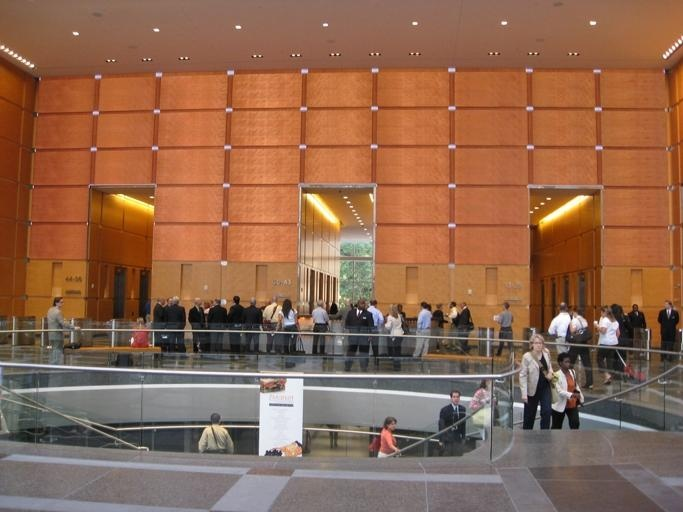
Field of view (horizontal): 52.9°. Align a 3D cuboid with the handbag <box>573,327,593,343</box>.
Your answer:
[{"bbox_3d":[6.179,2.020,17.676,0.500,0.463,0.250,-8,-18,-12],"label":"handbag"}]

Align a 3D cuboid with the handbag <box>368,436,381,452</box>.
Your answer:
[{"bbox_3d":[0.555,3.095,11.476,0.174,0.273,0.410,0,6,-4],"label":"handbag"}]

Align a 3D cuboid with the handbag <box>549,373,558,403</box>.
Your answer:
[{"bbox_3d":[4.117,2.544,13.306,0.130,0.636,0.286,3,6,24],"label":"handbag"}]

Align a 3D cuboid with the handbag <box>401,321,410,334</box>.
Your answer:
[{"bbox_3d":[1.915,2.126,20.578,0.132,0.348,0.275,-7,-4,19],"label":"handbag"}]

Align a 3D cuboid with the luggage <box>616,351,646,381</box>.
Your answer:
[{"bbox_3d":[6.230,2.456,14.867,0.311,0.811,0.489,-26,18,-35],"label":"luggage"}]

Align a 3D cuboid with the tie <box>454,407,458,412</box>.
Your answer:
[{"bbox_3d":[1.724,2.296,10.345,0.049,0.065,0.016,-1,-9,22],"label":"tie"}]
